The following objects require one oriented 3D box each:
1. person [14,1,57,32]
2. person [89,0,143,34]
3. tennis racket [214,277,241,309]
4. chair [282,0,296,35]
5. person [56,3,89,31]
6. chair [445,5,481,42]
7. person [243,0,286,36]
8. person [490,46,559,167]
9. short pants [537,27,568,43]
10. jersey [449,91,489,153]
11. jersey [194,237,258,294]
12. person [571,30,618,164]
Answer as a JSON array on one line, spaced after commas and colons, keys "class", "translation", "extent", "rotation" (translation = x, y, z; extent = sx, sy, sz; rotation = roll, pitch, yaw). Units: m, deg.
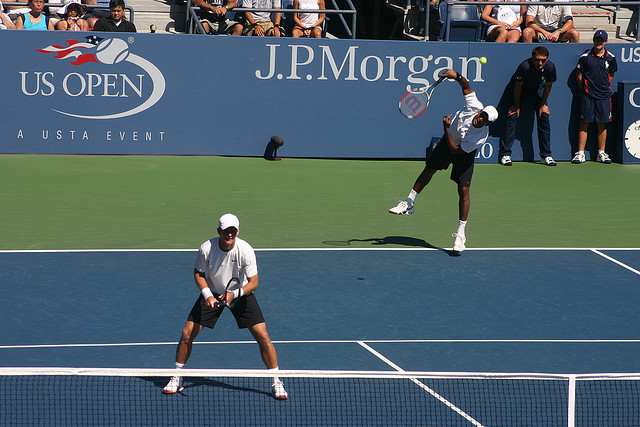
[{"class": "person", "translation": [-6.600, -4.644, 22.649], "extent": [0.915, 0.696, 0.696], "rotation": [-4, 19, -16]}, {"class": "person", "translation": [-4.867, -4.770, 23.017], "extent": [0.988, 0.758, 2.530], "rotation": [-2, 19, -11]}, {"class": "tennis racket", "translation": [-1.257, 1.169, 13.651], "extent": [0.287, 0.455, 0.153], "rotation": [14, -22, 16]}, {"class": "chair", "translation": [-0.692, -5.011, 24.443], "extent": [0.327, 0.871, 0.622], "rotation": [3, -7, -30]}, {"class": "person", "translation": [-5.683, -4.495, 22.569], "extent": [0.760, 0.646, 1.919], "rotation": [3, 21, -13]}, {"class": "chair", "translation": [3.479, -4.674, 23.703], "extent": [0.791, 0.918, 2.470], "rotation": [5, 19, 8]}, {"class": "person", "translation": [-1.398, -4.726, 23.506], "extent": [0.687, 1.193, 1.186], "rotation": [1, -1, -22]}, {"class": "person", "translation": [4.799, -2.532, 22.764], "extent": [1.481, 2.880, 0.925], "rotation": [5, 18, 10]}, {"class": "short pants", "translation": [5.592, -4.333, 23.632], "extent": [0.687, 0.310, 1.051], "rotation": [6, 19, 11]}, {"class": "jersey", "translation": [2.615, -1.590, 17.269], "extent": [0.660, 0.994, 0.687], "rotation": [6, 19, 13]}, {"class": "jersey", "translation": [-1.322, 0.760, 13.796], "extent": [0.850, 0.825, 0.239], "rotation": [2, 18, 0]}, {"class": "person", "translation": [6.392, -2.710, 22.860], "extent": [0.964, 3.166, 0.457], "rotation": [1, 18, -1]}]
